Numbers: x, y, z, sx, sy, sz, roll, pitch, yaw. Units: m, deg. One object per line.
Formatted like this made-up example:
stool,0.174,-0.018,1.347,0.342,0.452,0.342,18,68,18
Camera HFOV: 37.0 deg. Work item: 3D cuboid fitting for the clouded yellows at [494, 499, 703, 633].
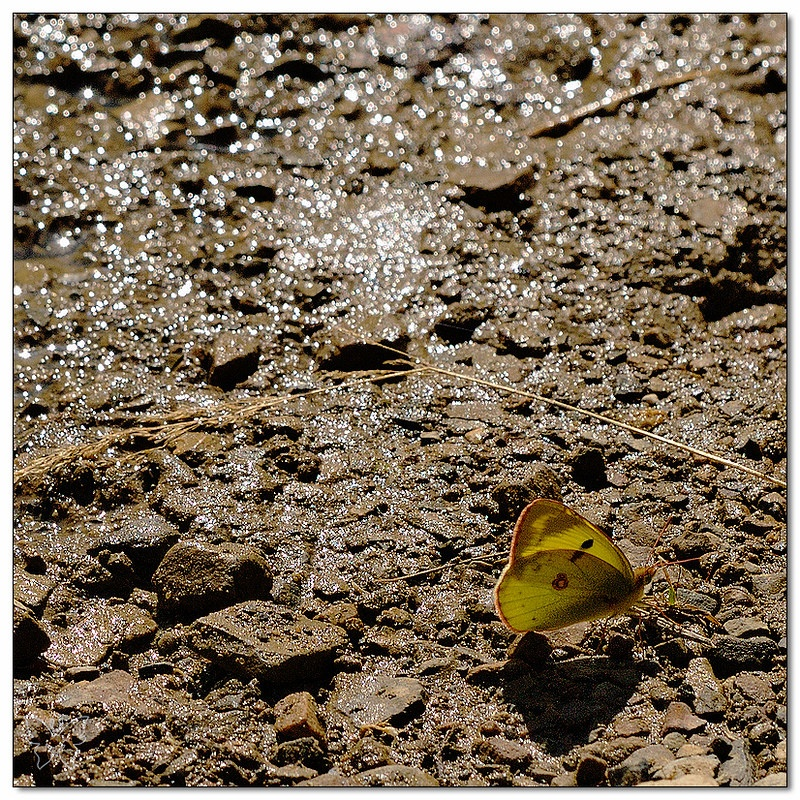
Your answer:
clouded yellows,0.687,0.650,4.755,0.658,0.497,0.312,-11,45,-2
